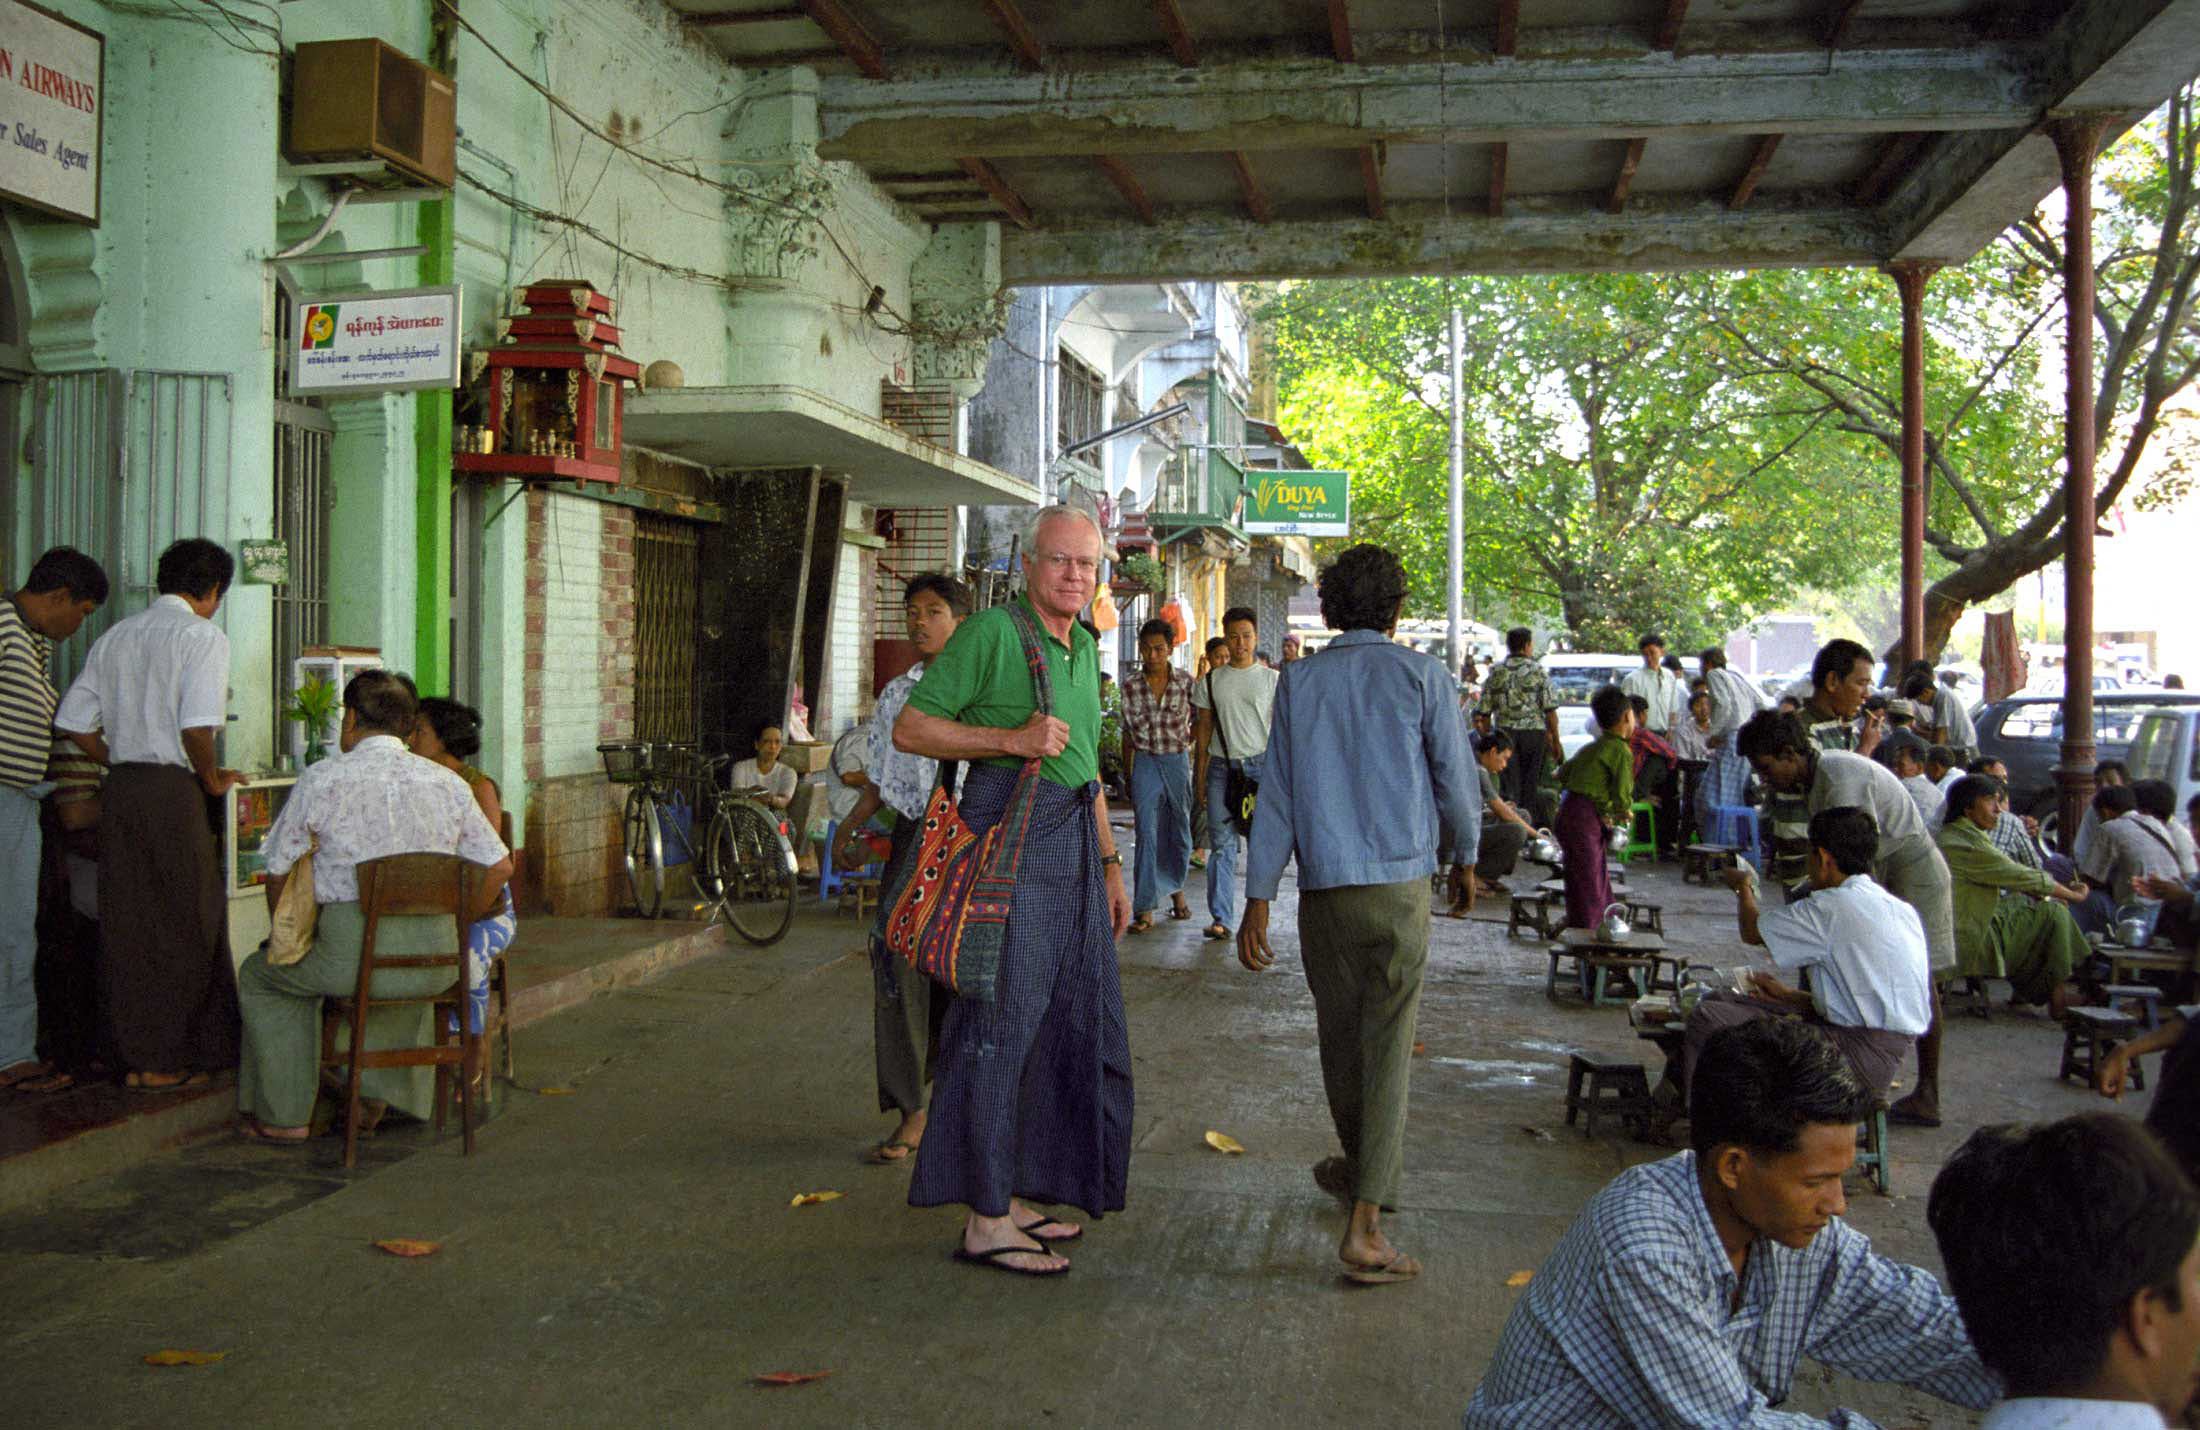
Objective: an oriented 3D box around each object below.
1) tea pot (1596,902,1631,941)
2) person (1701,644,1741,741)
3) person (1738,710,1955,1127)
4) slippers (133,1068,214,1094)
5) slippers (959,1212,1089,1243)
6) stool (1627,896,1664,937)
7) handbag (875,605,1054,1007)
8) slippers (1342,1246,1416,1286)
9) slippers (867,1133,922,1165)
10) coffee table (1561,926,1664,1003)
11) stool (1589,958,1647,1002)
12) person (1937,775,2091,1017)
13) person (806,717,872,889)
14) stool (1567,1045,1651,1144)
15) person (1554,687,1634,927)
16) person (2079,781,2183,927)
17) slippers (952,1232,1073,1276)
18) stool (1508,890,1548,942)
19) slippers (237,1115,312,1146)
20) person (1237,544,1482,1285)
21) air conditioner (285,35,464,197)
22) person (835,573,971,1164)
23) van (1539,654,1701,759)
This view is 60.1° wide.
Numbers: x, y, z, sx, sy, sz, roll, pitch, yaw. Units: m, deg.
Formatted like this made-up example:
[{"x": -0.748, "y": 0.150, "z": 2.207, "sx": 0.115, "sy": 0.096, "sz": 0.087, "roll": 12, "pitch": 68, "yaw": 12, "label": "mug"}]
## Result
[{"x": 3.243, "y": 1.308, "z": 12.027, "sx": 0.244, "sy": 0.246, "sz": 0.251, "roll": -1, "pitch": 1, "yaw": 0, "label": "tea pot"}, {"x": 6.080, "y": -0.185, "z": 18.512, "sx": 0.428, "sy": 0.902, "sz": 1.098, "roll": 3, "pitch": 9, "yaw": 12, "label": "person"}, {"x": 3.892, "y": 1.030, "z": 9.826, "sx": 0.998, "sy": 2.146, "sz": 0.768, "roll": -3, "pitch": -2, "yaw": 24, "label": "person"}, {"x": -4.510, "y": 1.774, "z": 9.266, "sx": 0.308, "sy": 0.149, "sz": 0.109, "roll": -1, "pitch": 3, "yaw": -15, "label": "slippers"}, {"x": -0.281, "y": 2.102, "z": 7.871, "sx": 0.472, "sy": 0.125, "sz": 0.192, "roll": -1, "pitch": 9, "yaw": -6, "label": "slippers"}, {"x": 3.929, "y": 1.461, "z": 13.697, "sx": 0.279, "sy": 0.281, "sz": 0.286, "roll": -1, "pitch": -4, "yaw": 2, "label": "stool"}, {"x": -0.550, "y": 0.642, "z": 7.617, "sx": 0.617, "sy": 0.914, "sz": 0.323, "roll": 1, "pitch": 8, "yaw": 0, "label": "handbag"}, {"x": 1.117, "y": 2.198, "z": 7.584, "sx": 0.203, "sy": 0.077, "sz": 0.148, "roll": 1, "pitch": -1, "yaw": -1, "label": "slippers"}, {"x": -0.921, "y": 1.976, "z": 8.634, "sx": 0.227, "sy": 0.127, "sz": 0.509, "roll": -2, "pitch": -8, "yaw": 7, "label": "slippers"}, {"x": 3.165, "y": 1.551, "z": 11.764, "sx": 0.464, "sy": 0.238, "sz": 0.698, "roll": 1, "pitch": -1, "yaw": 1, "label": "coffee table"}, {"x": 3.241, "y": 1.679, "z": 12.025, "sx": 0.499, "sy": 0.275, "sz": 0.465, "roll": 6, "pitch": -9, "yaw": -38, "label": "stool"}, {"x": 5.486, "y": 1.090, "z": 11.512, "sx": 0.984, "sy": 1.395, "sz": 0.892, "roll": 2, "pitch": 9, "yaw": 7, "label": "person"}, {"x": -1.789, "y": 0.645, "z": 13.031, "sx": 0.373, "sy": 0.506, "sz": 1.162, "roll": -17, "pitch": -9, "yaw": -20, "label": "person"}, {"x": 2.457, "y": 1.847, "z": 9.285, "sx": 0.376, "sy": 0.390, "sz": 0.389, "roll": 0, "pitch": 6, "yaw": -8, "label": "stool"}, {"x": 3.474, "y": 0.688, "z": 13.193, "sx": 0.536, "sy": 1.766, "sz": 0.486, "roll": -19, "pitch": 25, "yaw": -28, "label": "person"}, {"x": 6.280, "y": 0.870, "z": 11.562, "sx": 0.411, "sy": 0.495, "sz": 0.899, "roll": 16, "pitch": 47, "yaw": 18, "label": "person"}, {"x": -0.330, "y": 2.179, "z": 7.663, "sx": 0.327, "sy": 0.080, "sz": 0.188, "roll": 1, "pitch": 8, "yaw": 19, "label": "slippers"}, {"x": 3.191, "y": 1.463, "z": 14.077, "sx": 0.367, "sy": 0.444, "sz": 0.377, "roll": -1, "pitch": 2, "yaw": 9, "label": "stool"}, {"x": -3.832, "y": 1.937, "z": 8.803, "sx": 0.294, "sy": 0.076, "sz": 0.139, "roll": 2, "pitch": 2, "yaw": 27, "label": "slippers"}, {"x": 1.110, "y": 0.758, "z": 7.921, "sx": 0.943, "sy": 2.866, "sz": 1.085, "roll": -1, "pitch": 9, "yaw": -11, "label": "person"}, {"x": -4.062, "y": -3.503, "z": 10.770, "sx": 0.636, "sy": 0.856, "sz": 1.213, "roll": 1, "pitch": -2, "yaw": 6, "label": "air conditioner"}, {"x": -0.927, "y": 0.753, "z": 8.712, "sx": 0.911, "sy": 2.760, "sz": 0.819, "roll": -2, "pitch": 13, "yaw": -10, "label": "person"}, {"x": 6.877, "y": 0.118, "z": 25.948, "sx": 2.556, "sy": 1.472, "sz": 1.688, "roll": -4, "pitch": 3, "yaw": 0, "label": "van"}]
